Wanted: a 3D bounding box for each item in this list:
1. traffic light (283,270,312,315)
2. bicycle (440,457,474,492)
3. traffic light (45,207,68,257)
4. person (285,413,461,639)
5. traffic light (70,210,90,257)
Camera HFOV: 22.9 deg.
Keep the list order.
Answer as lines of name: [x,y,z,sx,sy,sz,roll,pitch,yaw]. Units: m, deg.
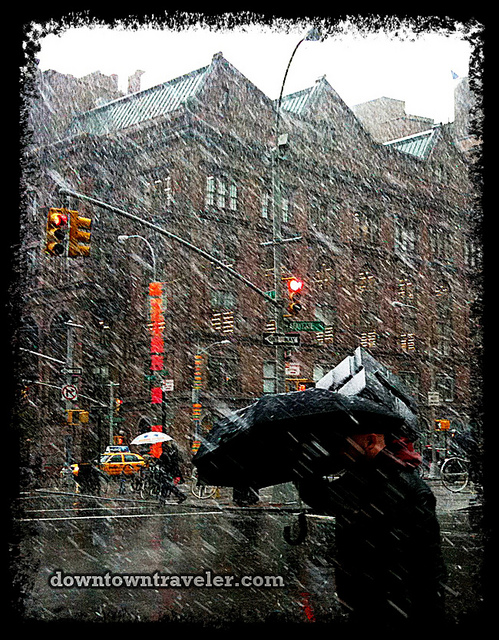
traffic light: [1.484,-0.972,40.448,1.323,1.439,0.437,-2,-3,-9]
bicycle: [4.379,3.281,26.294,0.555,0.822,1.078,3,2,8]
traffic light: [-3.067,-1.431,19.498,0.331,0.760,0.716,2,2,-9]
person: [0.744,1.210,7.382,0.906,1.294,0.389,4,3,25]
traffic light: [-2.717,-1.399,19.589,0.299,0.728,0.629,2,2,-7]
